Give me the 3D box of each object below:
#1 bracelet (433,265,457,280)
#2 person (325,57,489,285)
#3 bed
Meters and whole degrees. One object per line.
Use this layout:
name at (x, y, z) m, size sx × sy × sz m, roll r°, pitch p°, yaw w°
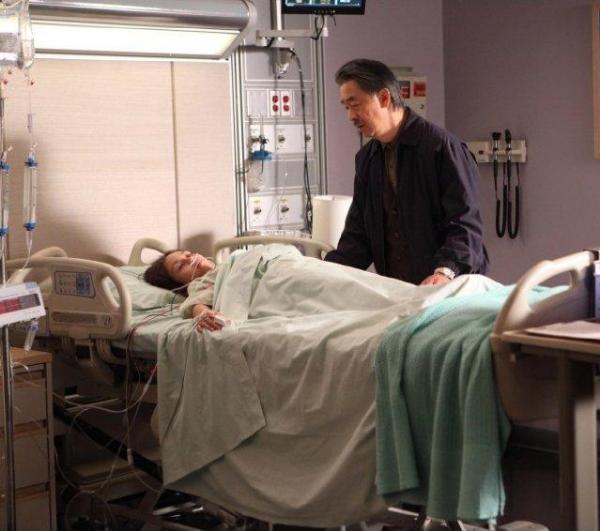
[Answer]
bracelet at (0.564, 0.031, 2.365) m, size 0.062 × 0.030 × 0.055 m, roll 27°, pitch 7°, yaw -28°
person at (0.469, -0.425, 2.745) m, size 0.705 × 1.010 × 0.564 m, roll 5°, pitch 24°, yaw 43°
bed at (0.181, 0.378, 2.067) m, size 1.341 × 0.709 × 0.916 m, roll 2°, pitch 6°, yaw 33°
